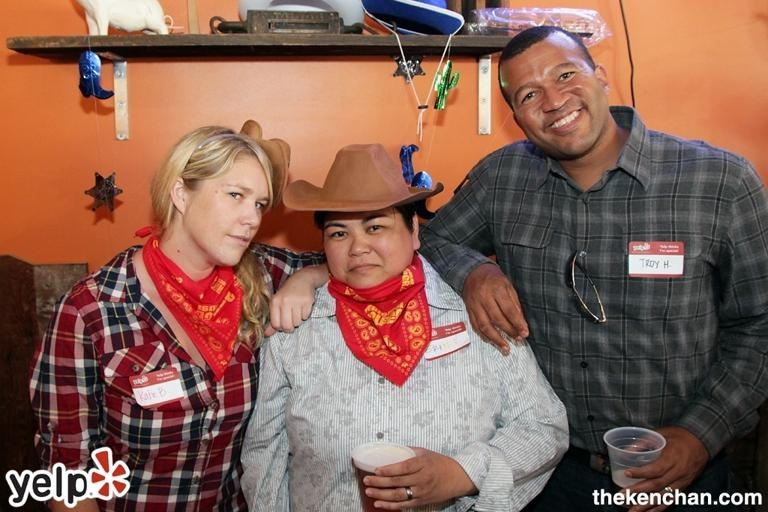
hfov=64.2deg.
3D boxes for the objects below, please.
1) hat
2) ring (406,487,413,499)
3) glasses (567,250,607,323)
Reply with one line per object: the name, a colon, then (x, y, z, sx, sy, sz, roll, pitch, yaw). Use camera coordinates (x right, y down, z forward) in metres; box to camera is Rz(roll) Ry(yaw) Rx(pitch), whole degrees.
hat: (-0.088, -0.273, 2.297, 0.367, 0.142, 0.426, -2, 6, 12)
ring: (0.082, 0.773, 1.999, 0.012, 0.031, 0.031, -4, -31, 1)
glasses: (0.773, 0.126, 2.367, 0.156, 0.248, 0.064, -9, -9, -5)
